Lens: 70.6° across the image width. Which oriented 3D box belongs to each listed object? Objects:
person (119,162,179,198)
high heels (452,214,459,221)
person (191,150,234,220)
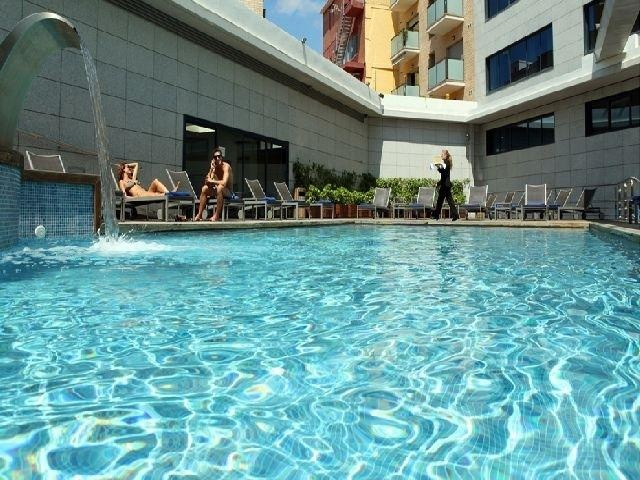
[{"bbox_3d":[-3.681,-1.302,9.860,1.389,0.983,0.732,1,4,6],"label":"person"},{"bbox_3d":[3.633,-0.596,12.305,0.131,0.169,0.393,-2,-1,19],"label":"high heels"},{"bbox_3d":[-2.414,-1.228,10.166,0.780,1.570,1.666,-2,5,-13],"label":"person"}]
